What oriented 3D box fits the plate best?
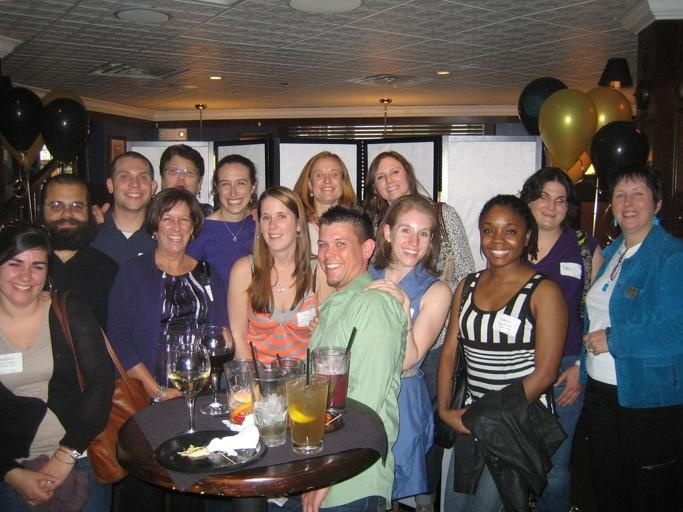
[{"bbox_3d":[-0.534,0.785,2.204,0.444,0.087,0.235,-2,3,-7],"label":"plate"}]

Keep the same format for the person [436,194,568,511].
[{"bbox_3d":[0.851,0.527,2.955,0.646,1.714,0.408,-2,3,-3],"label":"person"}]

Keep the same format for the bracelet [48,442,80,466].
[{"bbox_3d":[-1.422,1.025,2.804,0.113,0.113,0.035,-4,-2,-7],"label":"bracelet"}]

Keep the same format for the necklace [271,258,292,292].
[{"bbox_3d":[-0.374,0.129,3.189,0.106,0.148,0.042,0,-14,7],"label":"necklace"}]

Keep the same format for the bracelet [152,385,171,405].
[{"bbox_3d":[-1.020,0.786,3.049,0.112,0.055,0.130,-9,-6,4],"label":"bracelet"}]

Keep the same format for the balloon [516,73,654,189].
[{"bbox_3d":[2.267,-1.213,5.287,0.865,0.846,1.553,-6,17,17],"label":"balloon"}]

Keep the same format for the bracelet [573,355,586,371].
[{"bbox_3d":[1.445,0.646,3.334,0.080,0.070,0.063,-3,-14,23],"label":"bracelet"}]

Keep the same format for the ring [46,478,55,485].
[{"bbox_3d":[-1.492,1.145,2.776,0.027,0.009,0.026,1,5,0],"label":"ring"}]
